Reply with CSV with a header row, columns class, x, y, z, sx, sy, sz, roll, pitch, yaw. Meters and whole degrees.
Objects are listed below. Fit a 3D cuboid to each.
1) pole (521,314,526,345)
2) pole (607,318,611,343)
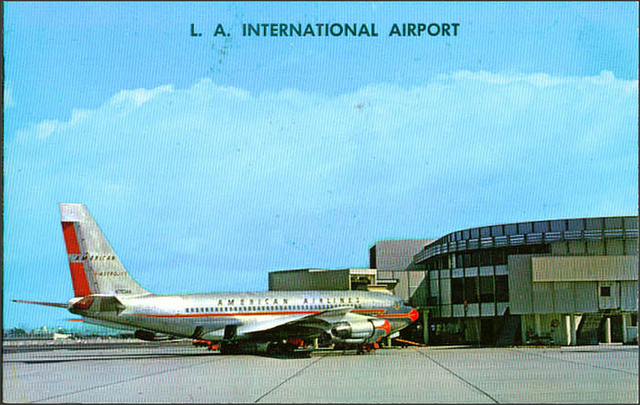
class,x,y,z,sx,sy,sz,roll,pitch,yaw
pole,20.037,12.517,131.190,0.273,2.893,0.656,3,-8,-42
pole,28.747,12.699,132.396,0.240,2.409,0.579,-5,-6,22
